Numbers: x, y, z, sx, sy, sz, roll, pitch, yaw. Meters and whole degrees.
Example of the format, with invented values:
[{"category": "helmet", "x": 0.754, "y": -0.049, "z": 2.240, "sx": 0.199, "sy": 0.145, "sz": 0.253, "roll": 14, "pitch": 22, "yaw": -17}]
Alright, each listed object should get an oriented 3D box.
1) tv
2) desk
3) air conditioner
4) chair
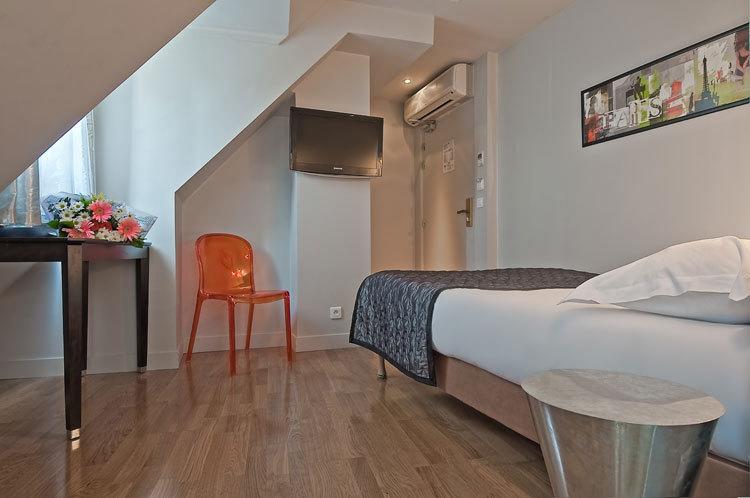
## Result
[{"category": "tv", "x": -0.368, "y": -0.915, "z": 4.391, "sx": 0.629, "sy": 0.467, "sz": 0.064, "roll": 1, "pitch": -3, "yaw": -21}, {"category": "desk", "x": -1.936, "y": 0.572, "z": 3.225, "sx": 0.411, "sy": 0.903, "sz": 1.019, "roll": 0, "pitch": 3, "yaw": -7}, {"category": "air conditioner", "x": 0.662, "y": -1.584, "z": 5.413, "sx": 0.258, "sy": 0.324, "sz": 0.937, "roll": -7, "pitch": -3, "yaw": -28}, {"category": "chair", "x": -1.090, "y": 0.392, "z": 4.043, "sx": 0.792, "sy": 1.064, "sz": 0.827, "roll": -1, "pitch": 0, "yaw": -10}]
